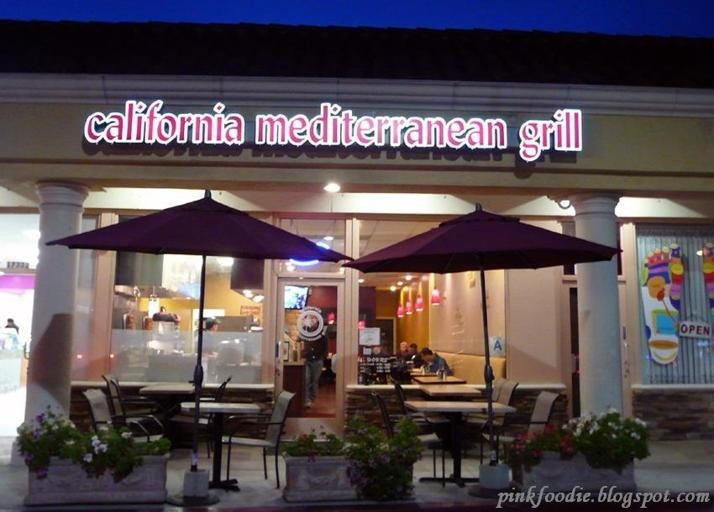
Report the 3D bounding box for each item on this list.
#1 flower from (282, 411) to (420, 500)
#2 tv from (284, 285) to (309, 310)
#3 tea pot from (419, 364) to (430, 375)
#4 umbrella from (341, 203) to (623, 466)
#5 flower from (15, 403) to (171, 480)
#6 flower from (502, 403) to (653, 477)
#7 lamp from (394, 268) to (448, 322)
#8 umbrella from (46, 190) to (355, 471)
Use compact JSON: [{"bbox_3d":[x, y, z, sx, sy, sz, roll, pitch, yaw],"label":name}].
[{"bbox_3d":[-0.028,2.738,8.984,1.760,1.216,0.977,0,-18,-2],"label":"flower"},{"bbox_3d":[-1.072,0.764,12.335,0.403,0.414,0.044,3,-7,2],"label":"tv"},{"bbox_3d":[1.363,2.288,13.821,0.153,0.173,0.156,1,-11,0],"label":"tea pot"},{"bbox_3d":[1.782,1.010,9.526,3.199,3.265,3.374,-4,5,-22],"label":"umbrella"},{"bbox_3d":[-3.297,2.412,8.615,1.648,0.798,0.991,16,-19,-18],"label":"flower"},{"bbox_3d":[3.208,2.420,9.204,0.955,0.598,1.448,-19,-4,-10],"label":"flower"},{"bbox_3d":[1.652,1.128,20.834,0.485,1.076,2.703,0,0,-9],"label":"lamp"},{"bbox_3d":[-2.131,0.667,9.485,3.119,2.968,3.070,2,8,-1],"label":"umbrella"}]
